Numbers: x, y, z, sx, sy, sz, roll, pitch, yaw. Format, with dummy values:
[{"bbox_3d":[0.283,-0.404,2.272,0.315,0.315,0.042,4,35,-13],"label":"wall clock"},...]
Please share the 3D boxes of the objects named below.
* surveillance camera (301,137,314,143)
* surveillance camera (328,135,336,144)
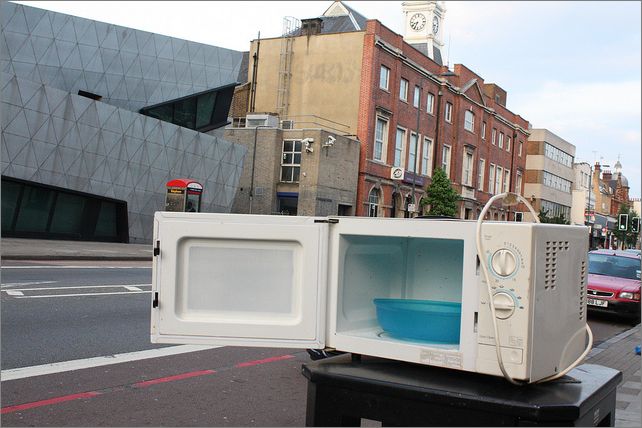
[{"bbox_3d":[-0.833,-4.644,33.451,0.722,0.235,0.266,3,2,22],"label":"surveillance camera"},{"bbox_3d":[0.660,-4.720,33.515,0.376,0.466,0.458,-5,14,-4],"label":"surveillance camera"}]
